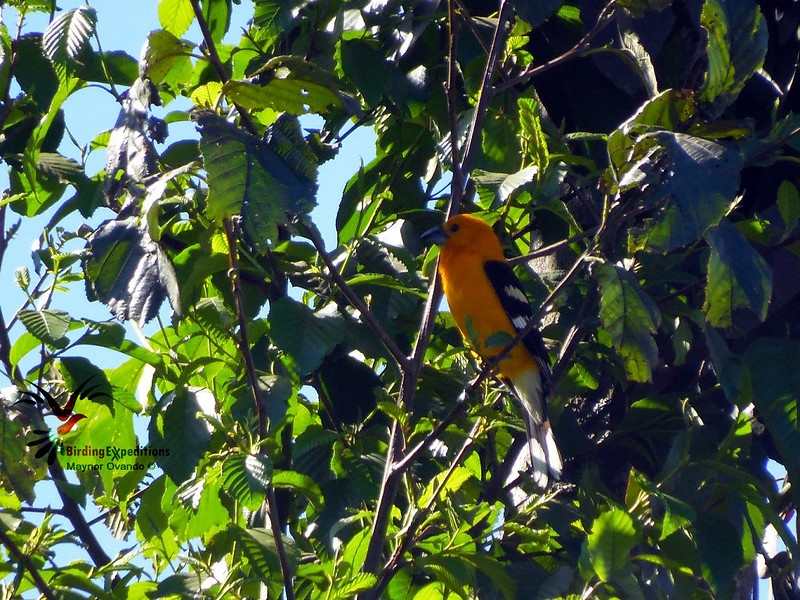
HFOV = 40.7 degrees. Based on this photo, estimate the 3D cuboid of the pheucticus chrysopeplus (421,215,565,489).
[{"bbox_3d":[0.441,0.182,5.332,0.585,1.539,1.219,-6,-47,11],"label":"pheucticus chrysopeplus"}]
